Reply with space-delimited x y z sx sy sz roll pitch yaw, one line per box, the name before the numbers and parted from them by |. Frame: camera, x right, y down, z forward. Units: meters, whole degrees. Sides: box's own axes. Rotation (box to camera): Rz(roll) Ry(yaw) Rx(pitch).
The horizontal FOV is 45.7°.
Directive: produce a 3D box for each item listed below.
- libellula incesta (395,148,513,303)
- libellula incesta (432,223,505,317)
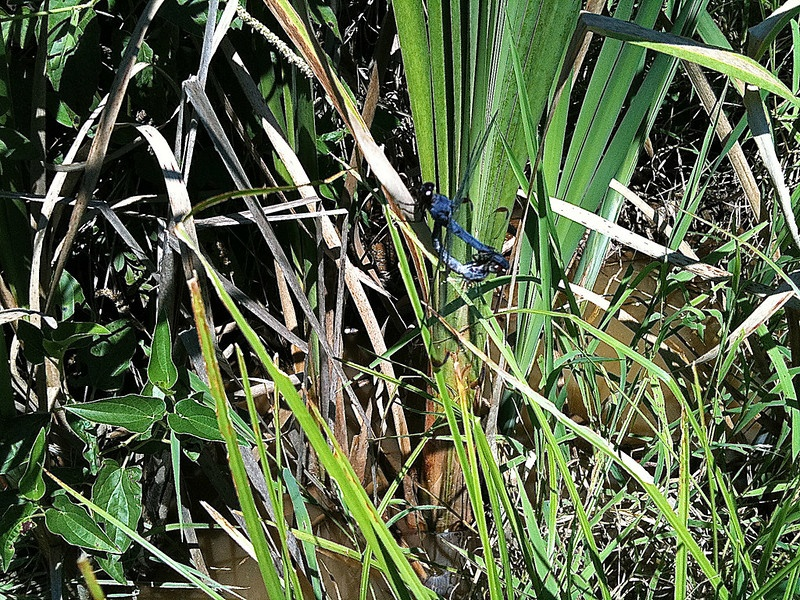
libellula incesta | 0.083 -0.109 1.347 0.148 0.192 0.103 -7 44 -8
libellula incesta | 0.097 -0.061 1.349 0.093 0.033 0.087 28 74 -30
